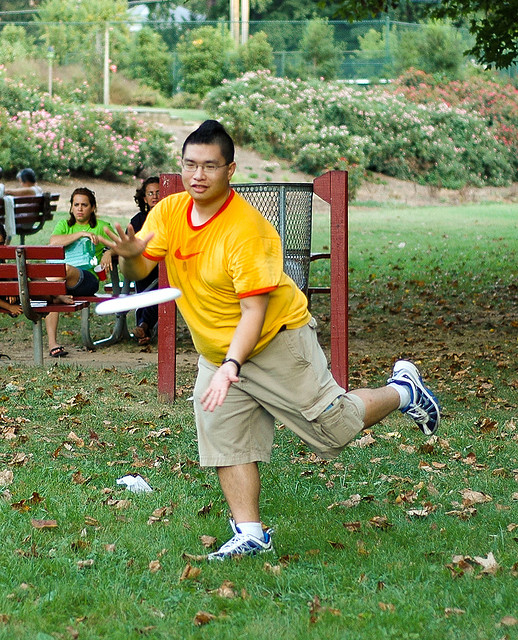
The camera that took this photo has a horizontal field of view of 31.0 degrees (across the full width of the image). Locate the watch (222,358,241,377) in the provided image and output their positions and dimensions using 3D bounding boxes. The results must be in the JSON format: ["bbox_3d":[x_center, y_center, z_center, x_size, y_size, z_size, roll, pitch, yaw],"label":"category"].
[{"bbox_3d":[-0.098,0.179,3.480,0.078,0.026,0.073,4,-26,27],"label":"watch"}]

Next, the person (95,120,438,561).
[{"bbox_3d":[-0.047,0.097,3.864,0.872,1.831,1.513,3,9,24],"label":"person"}]

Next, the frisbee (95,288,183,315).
[{"bbox_3d":[-0.453,-0.074,3.436,0.194,0.084,0.438,4,9,31],"label":"frisbee"}]

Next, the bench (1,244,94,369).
[{"bbox_3d":[-1.971,-0.143,8.665,1.333,0.795,0.548,4,9,29],"label":"bench"}]

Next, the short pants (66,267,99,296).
[{"bbox_3d":[-1.687,-0.393,8.990,0.166,0.266,0.400,5,9,33],"label":"short pants"}]
